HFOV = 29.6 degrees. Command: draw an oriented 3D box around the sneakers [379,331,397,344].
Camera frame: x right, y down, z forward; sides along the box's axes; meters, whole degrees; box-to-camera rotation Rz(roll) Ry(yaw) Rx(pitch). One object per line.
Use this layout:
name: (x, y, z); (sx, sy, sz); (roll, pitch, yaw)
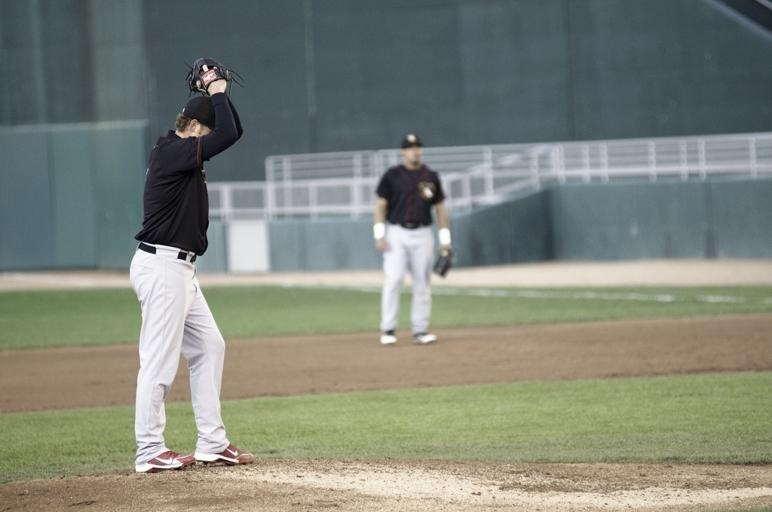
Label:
sneakers: (0.022, 0.678, 12.025); (0.113, 0.089, 0.210); (-1, -5, -4)

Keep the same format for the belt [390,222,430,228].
belt: (0.203, -0.231, 11.775); (0.283, 0.046, 0.072); (-3, -1, -12)

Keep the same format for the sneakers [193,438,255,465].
sneakers: (-1.089, 1.321, 9.852); (0.405, 0.170, 0.144); (-1, -1, -16)

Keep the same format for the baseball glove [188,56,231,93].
baseball glove: (-1.247, -1.219, 9.825); (0.380, 0.192, 0.286); (-10, 19, -29)

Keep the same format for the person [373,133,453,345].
person: (0.223, -0.123, 11.837); (0.615, 1.410, 0.452); (-3, -1, 1)

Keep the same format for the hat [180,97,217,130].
hat: (-1.231, -0.940, 9.652); (0.237, 0.137, 0.156); (-3, 32, -46)

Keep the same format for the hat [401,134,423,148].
hat: (0.231, -0.916, 11.730); (0.223, 0.101, 0.177); (-3, -1, -23)

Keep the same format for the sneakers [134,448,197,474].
sneakers: (-1.456, 1.371, 9.722); (0.368, 0.176, 0.150); (-4, 1, -13)

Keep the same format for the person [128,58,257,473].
person: (-1.319, 0.052, 9.655); (0.780, 2.065, 0.444); (-3, -1, -11)

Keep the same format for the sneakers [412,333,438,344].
sneakers: (0.324, 0.678, 11.887); (0.081, 0.089, 0.188); (1, -8, -36)
